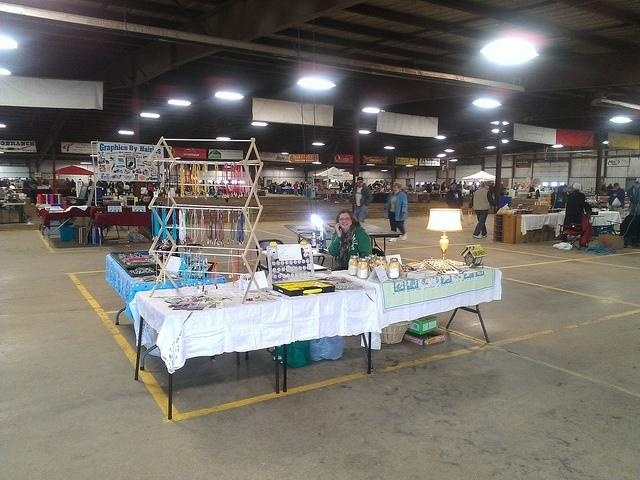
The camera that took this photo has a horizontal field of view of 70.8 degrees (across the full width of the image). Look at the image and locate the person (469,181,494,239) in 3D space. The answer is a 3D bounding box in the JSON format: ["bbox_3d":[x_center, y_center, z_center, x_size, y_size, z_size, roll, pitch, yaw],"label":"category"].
[{"bbox_3d":[4.842,-0.855,13.496,0.537,1.646,1.015,5,11,20],"label":"person"}]

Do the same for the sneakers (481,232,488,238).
[{"bbox_3d":[5.089,-0.142,13.924,0.118,0.132,0.355,-1,0,35],"label":"sneakers"}]

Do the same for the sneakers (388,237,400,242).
[{"bbox_3d":[2.111,-0.002,13.027,0.116,0.146,0.361,-5,-6,34],"label":"sneakers"}]

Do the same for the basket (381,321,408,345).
[{"bbox_3d":[0.839,1.085,5.260,0.271,0.165,0.278,0,-5,-3],"label":"basket"}]
